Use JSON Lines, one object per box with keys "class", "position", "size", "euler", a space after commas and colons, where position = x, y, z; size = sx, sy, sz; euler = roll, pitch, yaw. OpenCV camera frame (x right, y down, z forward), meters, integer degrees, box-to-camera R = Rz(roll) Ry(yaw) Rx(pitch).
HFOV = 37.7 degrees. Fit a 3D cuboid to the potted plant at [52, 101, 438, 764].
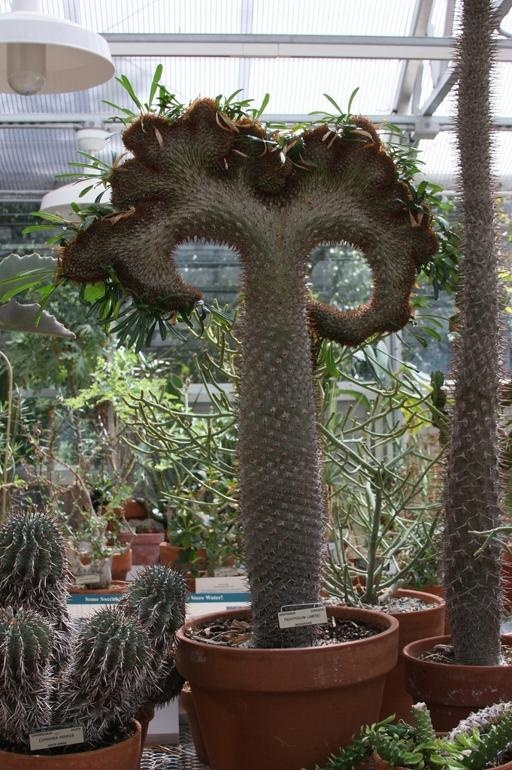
{"class": "potted plant", "position": [-0.009, -0.008, 1.134], "size": [0.581, 0.796, 0.186], "euler": [4, 0, -14]}
